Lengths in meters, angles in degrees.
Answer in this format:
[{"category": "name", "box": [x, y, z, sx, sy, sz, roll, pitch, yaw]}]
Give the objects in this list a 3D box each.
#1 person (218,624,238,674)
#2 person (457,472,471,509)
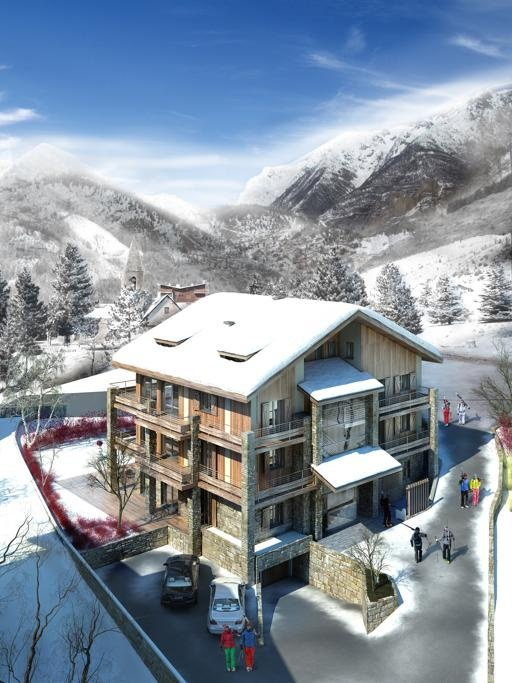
[{"category": "person", "box": [-0.992, 10.933, 21.629, 0.531, 1.902, 1.315, -3, 12, -5]}, {"category": "person", "box": [11.493, 8.153, 32.633, 0.471, 1.839, 0.822, 3, 13, 21]}]
